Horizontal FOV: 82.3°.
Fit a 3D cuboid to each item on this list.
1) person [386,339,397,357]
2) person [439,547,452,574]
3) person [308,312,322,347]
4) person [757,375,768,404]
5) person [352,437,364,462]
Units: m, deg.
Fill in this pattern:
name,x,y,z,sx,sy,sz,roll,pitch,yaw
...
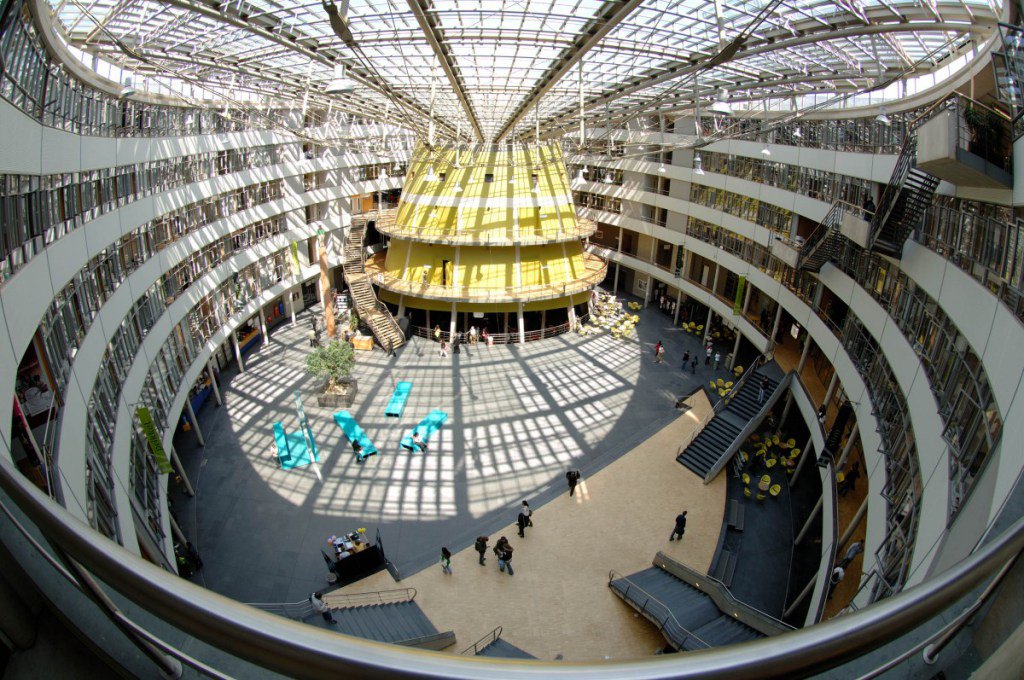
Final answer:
name,x,y,z,sx,sy,sz,roll,pitch,yaw
person,-8.021,0.685,39.819,0.644,1.436,0.601,-5,-67,-1
person,-2.557,8.544,23.357,0.490,1.115,0.778,2,-68,-4
person,-14.308,-0.550,42.879,0.670,2.142,0.575,-24,-59,-9
person,13.592,2.744,31.737,0.433,1.928,0.539,9,-34,24
person,-7.642,5.492,29.349,0.399,1.545,0.380,10,-70,-27
